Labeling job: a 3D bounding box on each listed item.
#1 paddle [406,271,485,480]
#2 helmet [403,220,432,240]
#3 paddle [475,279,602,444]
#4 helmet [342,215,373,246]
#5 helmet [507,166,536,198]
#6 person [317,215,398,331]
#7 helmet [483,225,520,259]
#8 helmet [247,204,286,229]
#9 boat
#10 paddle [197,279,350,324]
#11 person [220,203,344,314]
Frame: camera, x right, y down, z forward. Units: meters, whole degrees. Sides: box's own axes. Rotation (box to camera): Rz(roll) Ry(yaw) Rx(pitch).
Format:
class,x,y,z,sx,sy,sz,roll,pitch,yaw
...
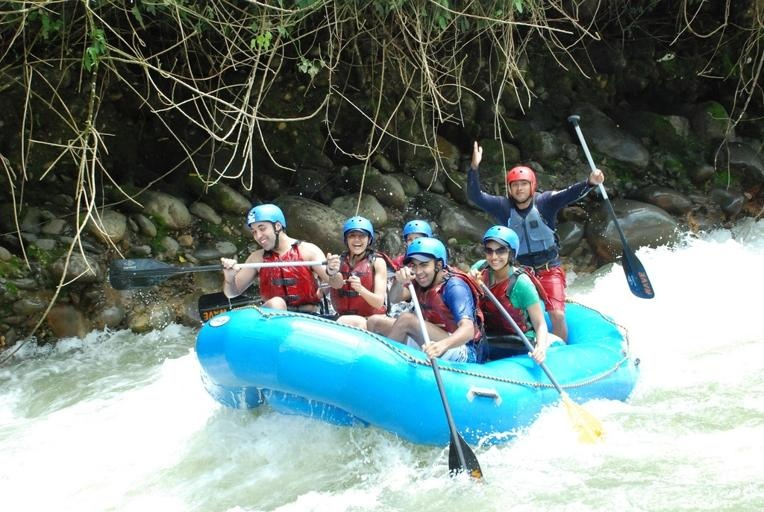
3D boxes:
class,x,y,z,sx,sy,sz,roll,pitch,yaw
paddle,0.656,1.285,6.896,0.354,1.547,0.680,-10,3,2
helmet,0.412,-0.325,8.065,0.217,0.245,0.291,-1,-8,8
paddle,1.605,1.141,7.324,0.259,1.814,0.200,-35,-16,3
helmet,-0.250,-0.325,7.693,0.246,0.355,0.268,-1,40,7
helmet,1.697,-0.921,8.397,0.407,0.267,0.274,-12,3,-14
person,-0.307,0.273,7.665,0.746,1.329,0.740,-7,24,-27
helmet,1.294,-0.175,7.521,0.281,0.328,0.404,19,10,21
helmet,-1.265,-0.455,7.644,0.293,0.185,0.274,0,-6,-35
boat,0.504,1.225,7.118,2.877,0.935,2.014,2,-1,-36
paddle,-1.611,0.568,8.777,1.342,0.330,0.783,4,10,-33
person,-1.105,0.248,7.730,1.247,1.728,1.100,-2,5,-3
